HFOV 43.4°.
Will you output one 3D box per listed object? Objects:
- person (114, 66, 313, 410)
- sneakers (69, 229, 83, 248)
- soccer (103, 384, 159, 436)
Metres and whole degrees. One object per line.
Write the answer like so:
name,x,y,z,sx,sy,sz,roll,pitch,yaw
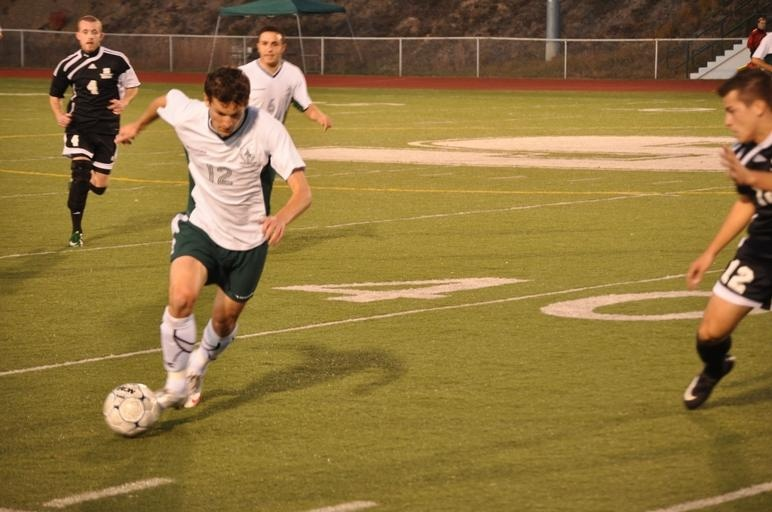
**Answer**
person,-1.059,-0.101,6.609,0.975,2.360,1.184,2,19,-13
sneakers,-3.711,-0.199,11.697,0.148,0.112,0.303,0,3,-11
soccer,-1.688,0.996,6.310,0.451,0.313,0.340,-2,-21,-16
